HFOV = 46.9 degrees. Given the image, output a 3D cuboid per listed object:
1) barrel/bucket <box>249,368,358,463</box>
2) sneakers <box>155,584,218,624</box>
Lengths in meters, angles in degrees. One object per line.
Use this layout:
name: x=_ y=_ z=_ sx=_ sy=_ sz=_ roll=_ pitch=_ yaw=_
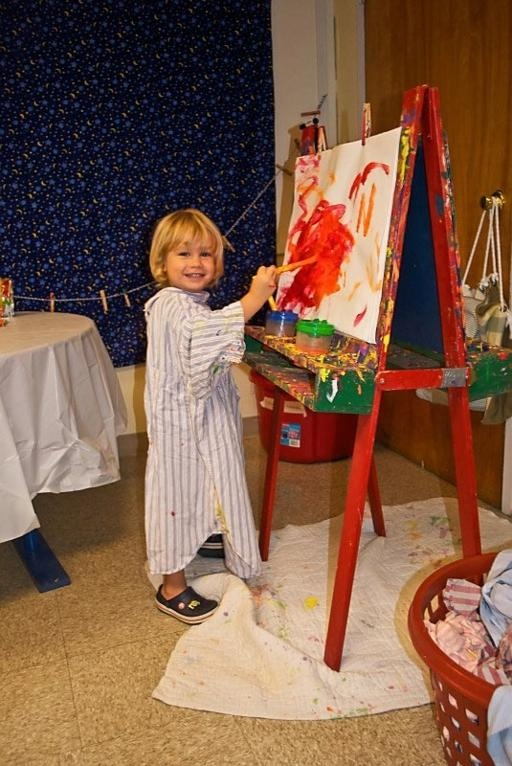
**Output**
barrel/bucket: x=0.174 y=0.114 z=2.350 sx=0.379 sy=0.295 sz=0.350 roll=1 pitch=10 yaw=0
sneakers: x=-0.168 y=0.506 z=1.383 sx=0.121 sy=0.050 sz=0.065 roll=3 pitch=14 yaw=33
